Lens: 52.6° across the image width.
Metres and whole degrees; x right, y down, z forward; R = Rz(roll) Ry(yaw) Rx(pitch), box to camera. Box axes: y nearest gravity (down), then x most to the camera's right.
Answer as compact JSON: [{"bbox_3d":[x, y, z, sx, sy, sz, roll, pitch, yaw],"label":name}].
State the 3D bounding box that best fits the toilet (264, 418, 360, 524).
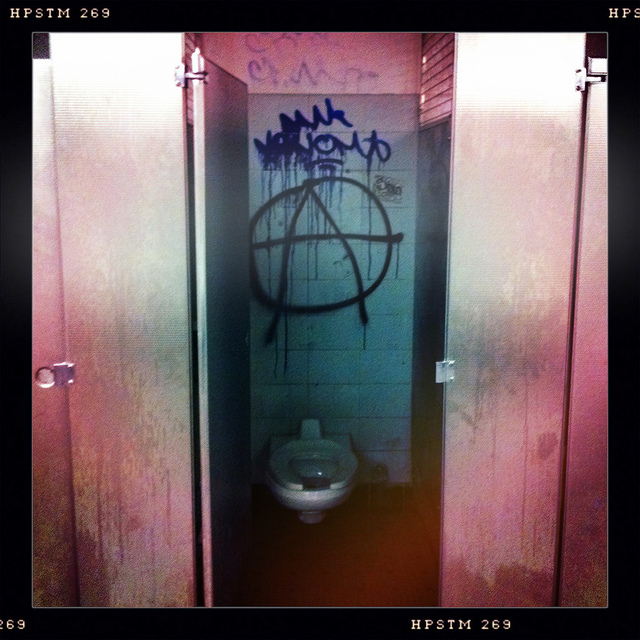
[{"bbox_3d":[-0.027,0.620,2.764,0.307,0.248,0.506,0,4,1],"label":"toilet"}]
